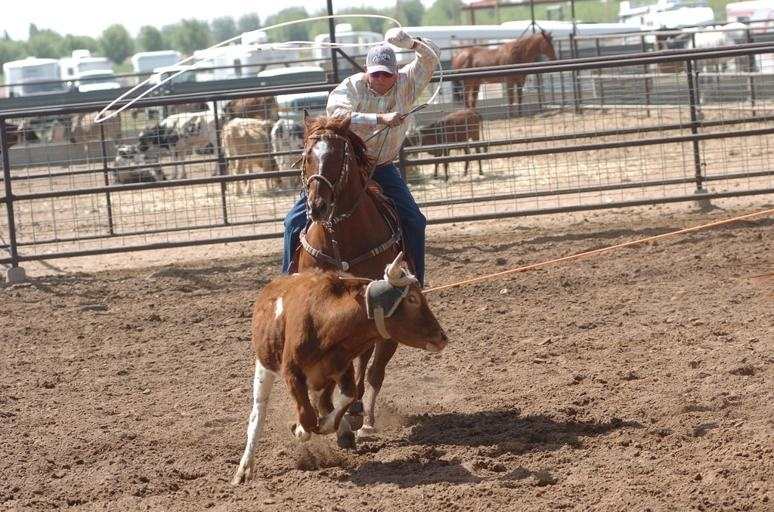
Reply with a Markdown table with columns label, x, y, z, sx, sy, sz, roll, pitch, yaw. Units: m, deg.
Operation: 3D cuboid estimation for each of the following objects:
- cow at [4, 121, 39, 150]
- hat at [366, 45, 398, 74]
| label | x | y | z | sx | sy | sz | roll | pitch | yaw |
| --- | --- | --- | --- | --- | --- | --- | --- | --- | --- |
| cow | -5.947 | -1.955 | 18.062 | 0.514 | 0.362 | 0.748 | -8 | 4 | -34 |
| hat | -0.067 | -2.212 | 12.577 | 0.355 | 0.357 | 0.203 | -8 | 8 | 0 |
